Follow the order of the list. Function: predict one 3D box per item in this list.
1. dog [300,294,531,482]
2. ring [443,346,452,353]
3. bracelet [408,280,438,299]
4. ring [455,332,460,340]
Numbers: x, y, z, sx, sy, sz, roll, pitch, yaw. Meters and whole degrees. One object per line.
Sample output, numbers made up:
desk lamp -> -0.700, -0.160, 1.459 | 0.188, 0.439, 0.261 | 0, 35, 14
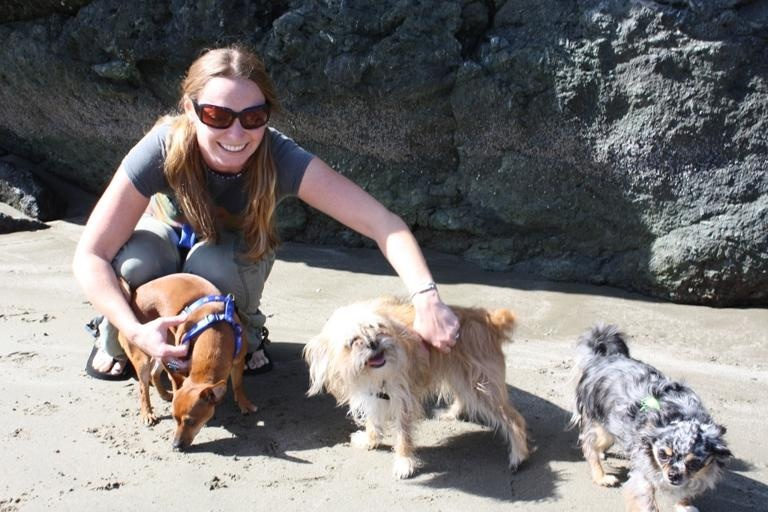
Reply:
dog -> 0.206, 1.079, 7.524 | 1.611, 1.335, 1.491 | -3, 1, -8
ring -> 0.557, 0.839, 7.045 | 0.060, 0.018, 0.061 | -29, -21, -12
bracelet -> 0.332, 0.320, 7.073 | 0.175, 0.081, 0.161 | -31, -14, 25
ring -> 0.648, 0.714, 7.096 | 0.020, 0.062, 0.041 | -1, 0, 41
